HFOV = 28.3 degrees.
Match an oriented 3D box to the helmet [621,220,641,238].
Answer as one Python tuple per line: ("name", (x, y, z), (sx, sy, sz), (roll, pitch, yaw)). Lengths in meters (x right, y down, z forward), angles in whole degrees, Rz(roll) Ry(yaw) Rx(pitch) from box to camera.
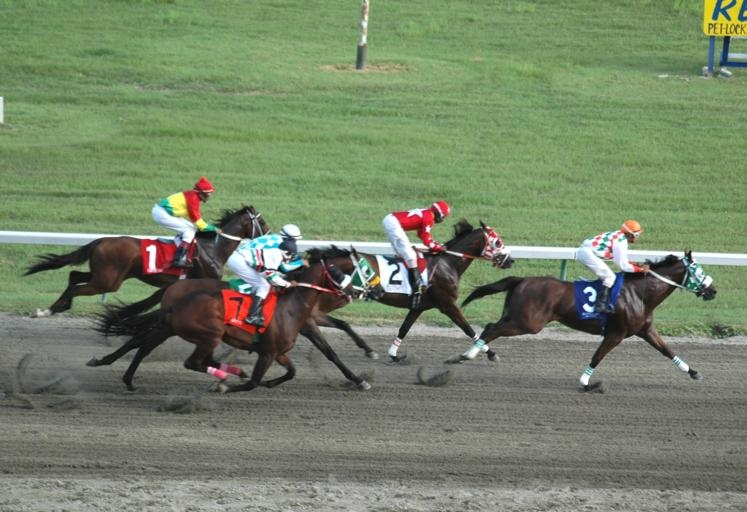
("helmet", (5.363, -0.555, 30.872), (0.434, 0.307, 0.339), (-6, 34, -12))

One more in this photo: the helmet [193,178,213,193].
("helmet", (-3.512, -1.444, 30.847), (0.498, 0.276, 0.468), (8, 5, 0))

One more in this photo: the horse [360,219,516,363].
("horse", (0.615, 0.653, 30.618), (5.231, 2.895, 1.176), (-2, 9, -35))

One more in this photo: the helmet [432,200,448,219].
("helmet", (1.414, -0.974, 31.105), (0.368, 0.352, 0.291), (-10, 1, 4))

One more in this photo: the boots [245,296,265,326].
("boots", (-2.308, 1.074, 29.002), (0.330, 0.559, 0.232), (1, 14, -2))

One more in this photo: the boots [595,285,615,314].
("boots", (4.673, 0.866, 29.903), (0.365, 0.546, 0.212), (4, 15, 9))

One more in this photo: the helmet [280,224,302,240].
("helmet", (-1.634, -0.477, 29.682), (0.388, 0.272, 0.280), (29, 32, 2))

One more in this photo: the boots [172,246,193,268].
("boots", (-3.789, 0.045, 30.547), (0.606, 0.501, 0.264), (1, 16, -18))
